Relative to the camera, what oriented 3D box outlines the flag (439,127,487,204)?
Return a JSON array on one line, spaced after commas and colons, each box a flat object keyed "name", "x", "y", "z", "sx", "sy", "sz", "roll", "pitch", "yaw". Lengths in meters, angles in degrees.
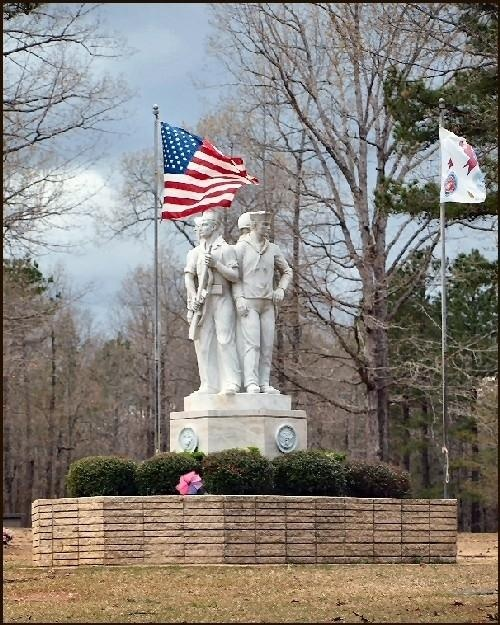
[{"name": "flag", "x": 4.560, "y": -3.253, "z": 40.309, "sx": 0.398, "sy": 1.935, "sz": 1.270, "roll": 8, "pitch": -13, "yaw": -43}]
